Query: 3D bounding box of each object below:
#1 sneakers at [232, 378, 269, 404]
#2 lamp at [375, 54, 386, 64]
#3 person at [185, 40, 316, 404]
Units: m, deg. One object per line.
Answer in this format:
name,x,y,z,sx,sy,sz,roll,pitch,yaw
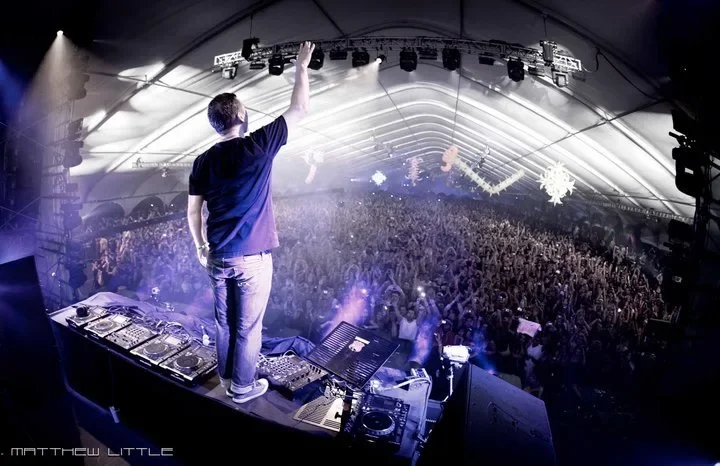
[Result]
sneakers,-1.182,1.715,4.909,0.146,0.162,0.384,9,8,32
lamp,0.305,-2.470,6.392,0.128,0.115,0.133,32,15,-6
person,-1.271,-0.145,4.755,1.156,3.696,1.389,10,-19,-9
